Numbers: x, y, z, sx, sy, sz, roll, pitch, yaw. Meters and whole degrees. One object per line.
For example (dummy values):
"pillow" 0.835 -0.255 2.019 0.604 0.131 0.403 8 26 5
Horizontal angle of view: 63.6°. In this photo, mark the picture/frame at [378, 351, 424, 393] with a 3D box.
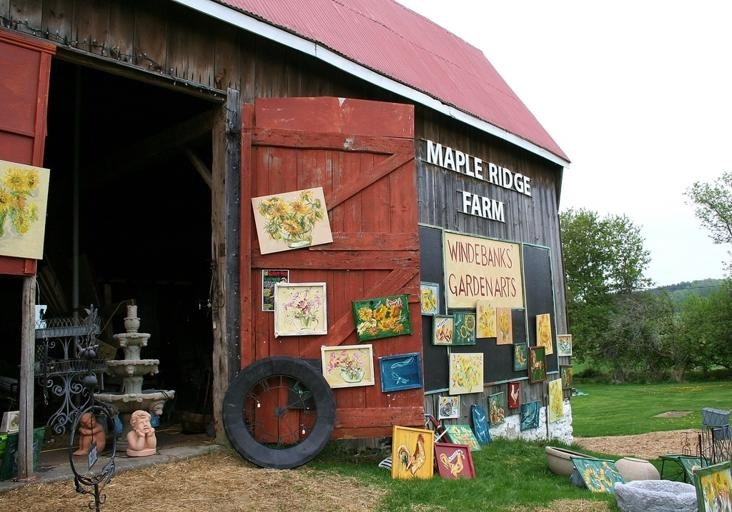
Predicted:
"picture/frame" 0.466 1.703 8.547 0.522 0.517 0.047 1 -9 -25

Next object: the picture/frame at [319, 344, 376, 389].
"picture/frame" -0.294 1.579 8.347 0.548 0.522 0.042 1 -9 -22

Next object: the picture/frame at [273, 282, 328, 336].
"picture/frame" -0.952 0.772 8.292 0.632 0.718 0.055 1 -6 -18
